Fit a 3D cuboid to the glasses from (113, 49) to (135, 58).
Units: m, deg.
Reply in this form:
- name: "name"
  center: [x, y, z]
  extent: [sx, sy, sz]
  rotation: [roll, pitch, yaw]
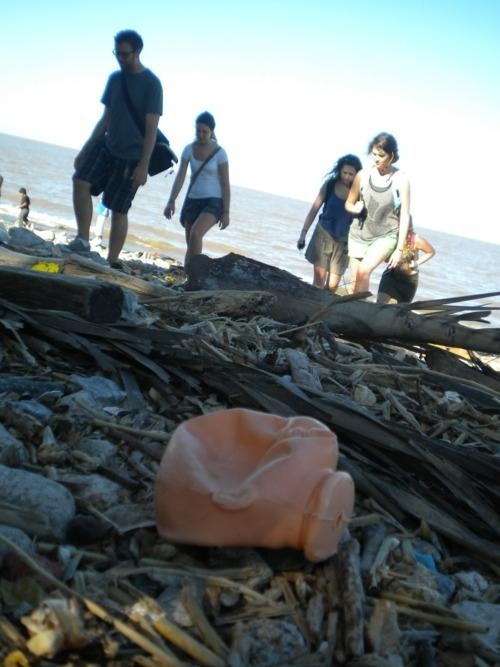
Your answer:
- name: "glasses"
  center: [-1.061, -2.363, 4.632]
  extent: [0.178, 0.056, 0.132]
  rotation: [6, 13, -18]

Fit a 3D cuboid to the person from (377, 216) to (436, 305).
- name: "person"
  center: [1.497, -0.522, 5.032]
  extent: [0.427, 1.088, 0.405]
  rotation: [-8, -12, 34]

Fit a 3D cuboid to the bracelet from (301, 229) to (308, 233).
- name: "bracelet"
  center: [0.563, -1.052, 5.568]
  extent: [0.054, 0.038, 0.048]
  rotation: [2, 0, 25]

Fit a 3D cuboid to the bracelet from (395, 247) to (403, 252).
- name: "bracelet"
  center: [1.341, -0.748, 4.858]
  extent: [0.049, 0.045, 0.028]
  rotation: [0, 1, 15]

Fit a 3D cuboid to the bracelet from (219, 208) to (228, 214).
- name: "bracelet"
  center: [-0.258, -1.274, 5.692]
  extent: [0.070, 0.023, 0.060]
  rotation: [-6, -10, -5]

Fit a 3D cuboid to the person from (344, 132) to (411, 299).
- name: "person"
  center: [1.163, -1.026, 5.003]
  extent: [0.564, 1.410, 0.768]
  rotation: [9, 14, -9]

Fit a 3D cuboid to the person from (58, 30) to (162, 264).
- name: "person"
  center: [-1.233, -1.620, 4.995]
  extent: [0.766, 1.975, 0.643]
  rotation: [11, 14, 1]

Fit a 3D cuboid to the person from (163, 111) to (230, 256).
- name: "person"
  center: [-0.454, -1.499, 5.650]
  extent: [0.582, 1.418, 0.924]
  rotation: [8, 14, -13]

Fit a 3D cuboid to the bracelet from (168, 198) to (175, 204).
- name: "bracelet"
  center: [-0.865, -1.487, 6.079]
  extent: [0.074, 0.071, 0.069]
  rotation: [0, 0, -4]
